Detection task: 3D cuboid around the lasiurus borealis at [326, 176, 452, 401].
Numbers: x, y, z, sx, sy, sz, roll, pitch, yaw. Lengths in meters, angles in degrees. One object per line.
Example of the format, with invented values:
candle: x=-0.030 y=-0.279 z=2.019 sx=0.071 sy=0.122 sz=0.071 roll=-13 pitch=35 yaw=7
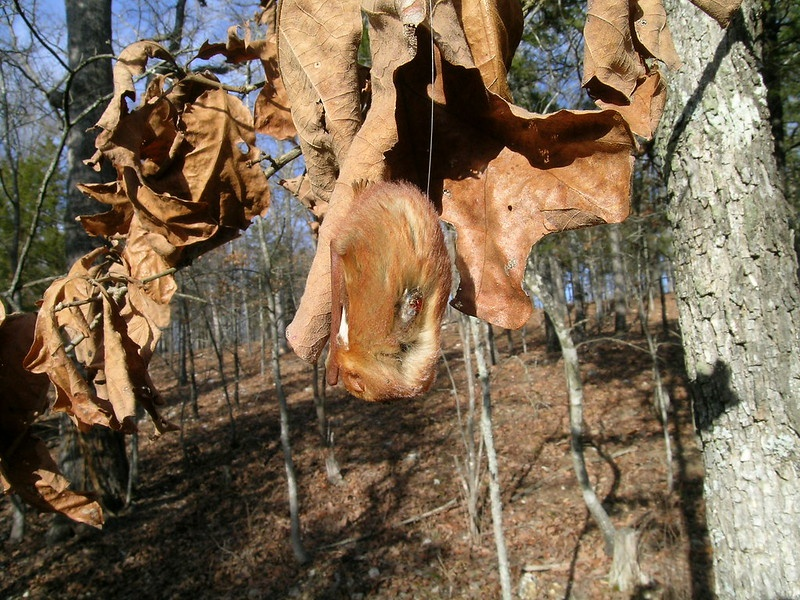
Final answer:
lasiurus borealis: x=-0.108 y=-0.085 z=5.447 sx=0.848 sy=1.507 sz=0.455 roll=-1 pitch=6 yaw=-44
